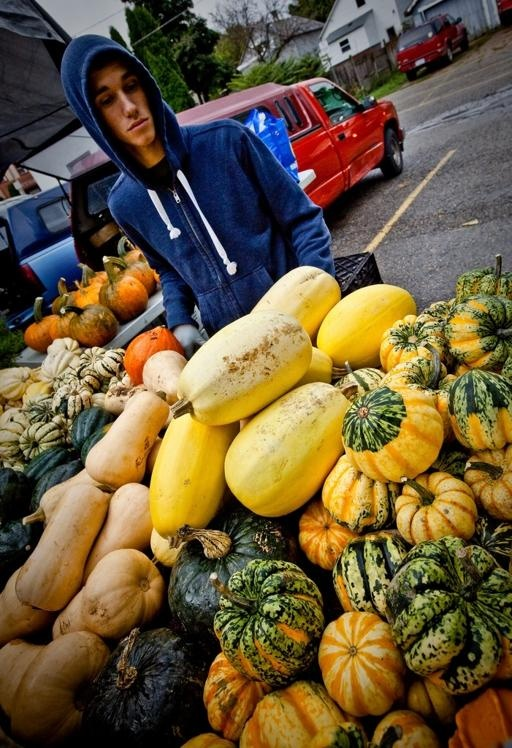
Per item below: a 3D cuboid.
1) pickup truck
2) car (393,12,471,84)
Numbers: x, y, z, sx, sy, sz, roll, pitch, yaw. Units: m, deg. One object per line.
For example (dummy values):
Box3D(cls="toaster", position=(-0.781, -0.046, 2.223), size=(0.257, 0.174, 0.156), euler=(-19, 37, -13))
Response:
Box3D(cls="pickup truck", position=(0.335, -3.134, 8.155), size=(2.473, 2.185, 6.045), euler=(16, 48, 40))
Box3D(cls="car", position=(6.766, -12.898, 20.680), size=(1.817, 1.756, 3.008), euler=(-5, 28, 44))
